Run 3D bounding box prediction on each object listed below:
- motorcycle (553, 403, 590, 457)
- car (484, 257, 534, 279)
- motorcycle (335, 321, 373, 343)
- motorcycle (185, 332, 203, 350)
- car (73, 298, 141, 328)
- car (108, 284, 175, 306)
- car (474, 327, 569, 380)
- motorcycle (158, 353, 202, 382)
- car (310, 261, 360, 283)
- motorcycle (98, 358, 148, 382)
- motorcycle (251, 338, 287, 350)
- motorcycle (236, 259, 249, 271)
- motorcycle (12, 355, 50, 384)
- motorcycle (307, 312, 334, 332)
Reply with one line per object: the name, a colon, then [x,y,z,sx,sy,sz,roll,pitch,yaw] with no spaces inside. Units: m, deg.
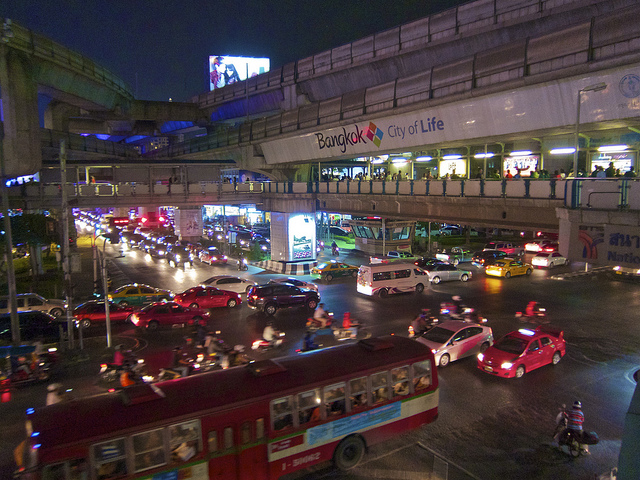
motorcycle: [8.882,6.439,16.369,1.342,1.346,1.351,-1,8,-1]
car: [16.902,2.309,41.405,3.863,1.053,1.745,-8,12,-29]
motorcycle: [1.939,5.036,25.425,2.118,0.434,2.079,-3,4,-22]
motorcycle: [-6.250,4.949,23.421,0.633,0.961,0.576,-28,-19,-5]
car: [-12.905,4.378,28.917,3.799,1.025,1.557,-6,11,-25]
car: [-12.281,3.725,32.738,4.343,1.221,1.684,-2,6,-21]
car: [9.413,4.943,21.854,4.371,1.294,1.867,-5,4,-32]
motorcycle: [-5.882,5.376,20.026,1.413,0.426,1.026,-11,11,-40]
car: [1.392,2.632,41.075,3.953,1.131,1.662,-6,10,-24]
motorcycle: [-8.689,5.630,20.616,1.798,0.828,1.126,-3,7,1]
motorcycle: [-2.731,5.172,24.259,1.336,0.587,0.615,-5,3,-10]
motorcycle: [-7.554,2.365,46.590,0.826,0.766,1.544,-5,6,-42]
motorcycle: [-12.784,5.686,20.925,1.269,0.776,1.165,0,0,13]
motorcycle: [0.083,4.520,25.790,1.461,0.802,0.648,-4,14,-7]
